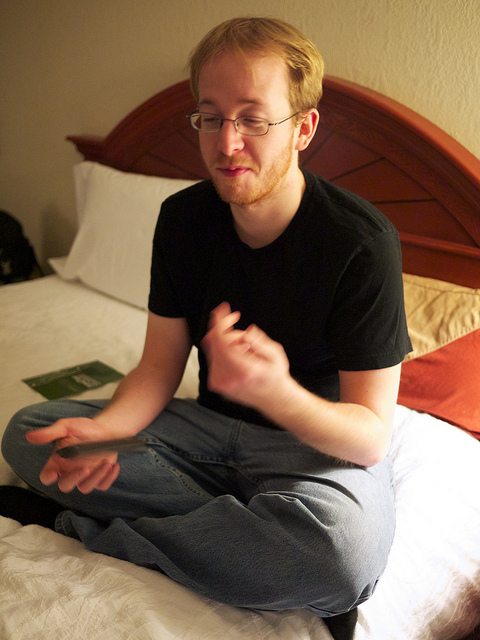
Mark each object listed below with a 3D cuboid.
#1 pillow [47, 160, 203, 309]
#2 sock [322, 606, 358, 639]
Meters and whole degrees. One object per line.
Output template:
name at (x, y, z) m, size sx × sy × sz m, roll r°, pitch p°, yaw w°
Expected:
pillow at (-0.370, -0.289, 2.104) m, size 0.562 × 0.583 × 0.185 m, roll 17°, pitch 14°, yaw 34°
sock at (0.152, 0.457, 0.857) m, size 0.044 × 0.045 × 0.040 m, roll 3°, pitch 38°, yaw 2°
